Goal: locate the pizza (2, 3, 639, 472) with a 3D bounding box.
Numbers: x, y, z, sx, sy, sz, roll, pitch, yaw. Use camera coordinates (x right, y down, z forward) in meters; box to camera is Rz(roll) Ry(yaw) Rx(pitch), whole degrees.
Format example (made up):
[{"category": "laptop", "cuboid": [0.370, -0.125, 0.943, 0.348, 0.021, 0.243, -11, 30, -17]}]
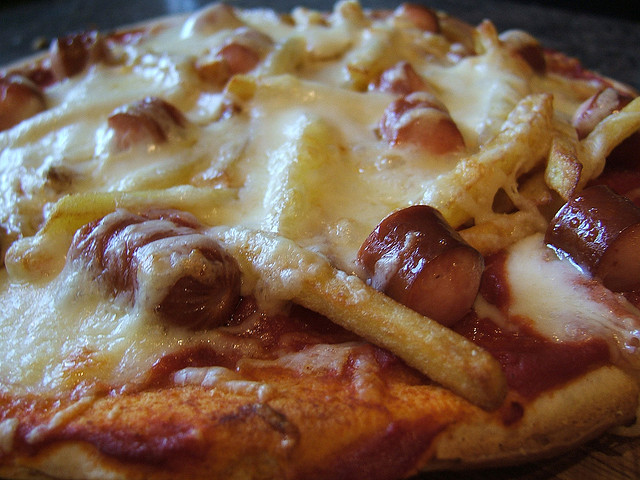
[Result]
[{"category": "pizza", "cuboid": [-0.008, -0.096, 1.537, 1.298, 0.370, 1.124, 2, 61, -3]}]
